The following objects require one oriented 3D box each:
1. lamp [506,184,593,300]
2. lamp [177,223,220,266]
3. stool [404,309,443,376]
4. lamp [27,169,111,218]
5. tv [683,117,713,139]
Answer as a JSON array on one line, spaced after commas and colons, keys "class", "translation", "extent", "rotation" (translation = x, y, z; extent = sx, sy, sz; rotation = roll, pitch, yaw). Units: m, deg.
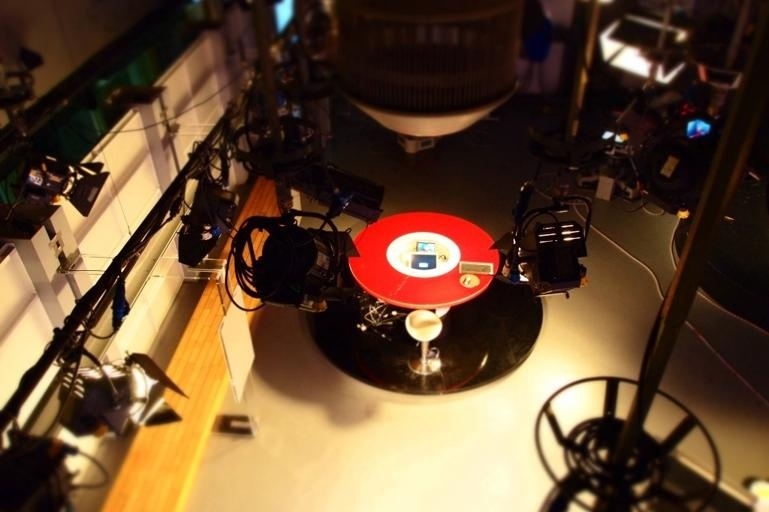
[{"class": "lamp", "translation": [1.276, -0.133, 4.583], "extent": [0.619, 0.835, 2.121], "rotation": [2, 1, 15]}, {"class": "lamp", "translation": [-1.279, -0.074, 3.940], "extent": [0.301, 0.295, 0.164], "rotation": [2, 1, 14]}, {"class": "stool", "translation": [0.396, 0.864, 5.640], "extent": [0.351, 0.660, 0.591], "rotation": [1, 1, 6]}, {"class": "lamp", "translation": [-2.138, -0.466, 3.792], "extent": [0.389, 0.246, 0.305], "rotation": [14, 31, -34]}, {"class": "tv", "translation": [2.553, -1.037, 4.593], "extent": [0.169, 0.192, 0.152], "rotation": [1, 1, -10]}]
